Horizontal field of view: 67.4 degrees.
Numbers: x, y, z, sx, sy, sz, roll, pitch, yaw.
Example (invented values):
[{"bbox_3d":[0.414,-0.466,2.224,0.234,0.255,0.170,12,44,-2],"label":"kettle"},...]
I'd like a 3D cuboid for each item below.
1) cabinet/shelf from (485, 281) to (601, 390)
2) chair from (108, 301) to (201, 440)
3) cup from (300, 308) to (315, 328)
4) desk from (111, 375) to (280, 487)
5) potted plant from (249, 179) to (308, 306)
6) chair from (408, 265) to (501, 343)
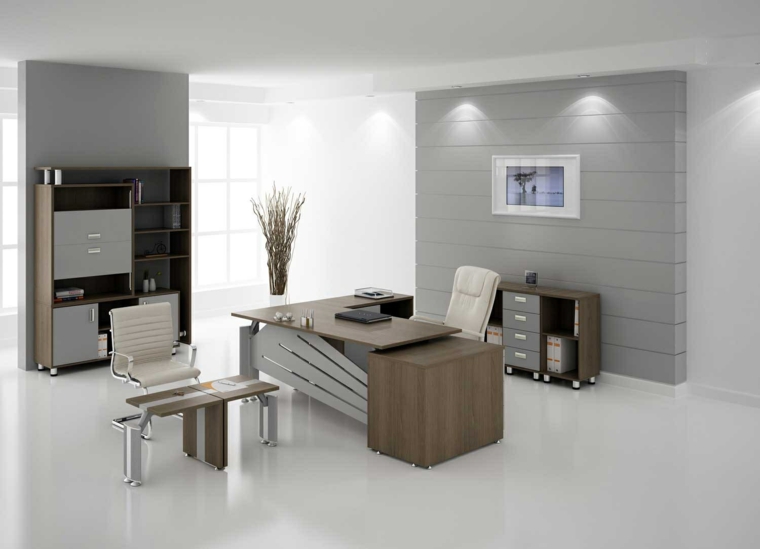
[{"bbox_3d":[2.008,0.768,7.203,0.517,1.156,1.383,-8,8,-42],"label":"cabinet/shelf"},{"bbox_3d":[-2.289,0.969,5.779,0.790,1.162,0.731,-2,9,-44],"label":"chair"},{"bbox_3d":[-0.761,0.469,5.905,0.120,0.223,0.120,0,10,0],"label":"cup"},{"bbox_3d":[-1.576,1.293,5.142,1.256,0.623,1.198,-2,9,-13],"label":"desk"},{"bbox_3d":[-1.814,-0.630,10.174,0.940,1.946,1.622,-2,9,-13],"label":"potted plant"},{"bbox_3d":[1.035,0.265,6.665,0.963,1.096,0.767,-4,9,-41],"label":"chair"}]
